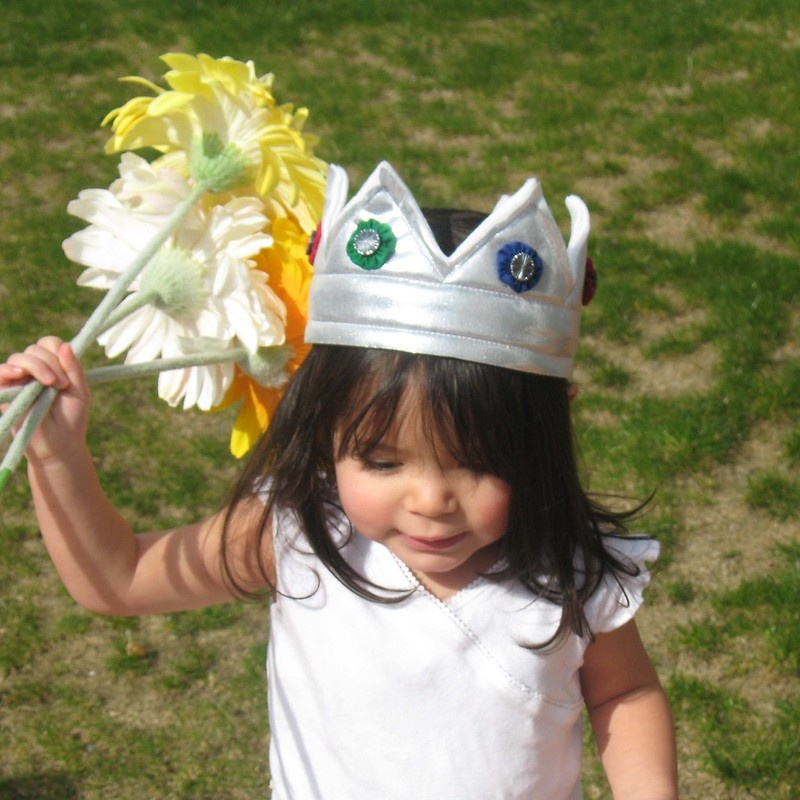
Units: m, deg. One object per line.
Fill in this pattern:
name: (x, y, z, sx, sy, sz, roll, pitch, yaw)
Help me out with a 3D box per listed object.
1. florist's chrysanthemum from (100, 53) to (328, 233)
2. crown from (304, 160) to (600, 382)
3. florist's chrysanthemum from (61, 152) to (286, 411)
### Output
florist's chrysanthemum: (-0.369, -0.498, 2.571, 0.490, 0.167, 0.441, -16, -12, 36)
crown: (0.087, -0.260, 2.653, 0.559, 0.351, 0.565, -1, 8, -38)
florist's chrysanthemum: (-0.420, -0.211, 2.516, 0.462, 0.472, 0.229, -10, 9, 3)
